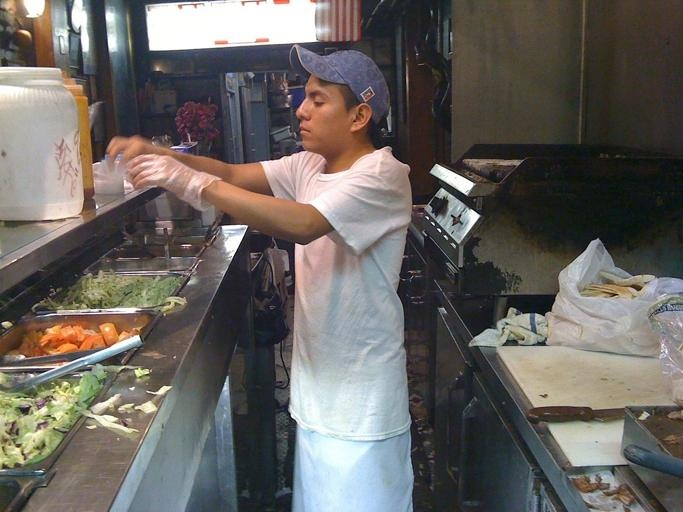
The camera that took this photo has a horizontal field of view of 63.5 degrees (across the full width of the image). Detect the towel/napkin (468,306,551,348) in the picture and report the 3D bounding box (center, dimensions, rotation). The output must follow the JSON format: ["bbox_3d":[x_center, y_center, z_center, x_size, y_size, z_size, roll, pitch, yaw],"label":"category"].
[{"bbox_3d":[0.664,0.297,2.188,0.294,0.107,0.155,3,18,11],"label":"towel/napkin"}]

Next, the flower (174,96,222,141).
[{"bbox_3d":[-1.689,-1.580,6.461,0.443,0.481,0.461,1,7,-6],"label":"flower"}]

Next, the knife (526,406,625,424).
[{"bbox_3d":[0.705,0.478,1.660,0.259,0.030,0.061,-2,20,4],"label":"knife"}]

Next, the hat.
[{"bbox_3d":[0.003,-0.641,2.074,0.356,0.285,0.170,-1,17,0],"label":"hat"}]

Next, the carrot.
[{"bbox_3d":[-0.905,0.275,1.831,0.230,0.076,0.163,-3,13,0],"label":"carrot"}]
